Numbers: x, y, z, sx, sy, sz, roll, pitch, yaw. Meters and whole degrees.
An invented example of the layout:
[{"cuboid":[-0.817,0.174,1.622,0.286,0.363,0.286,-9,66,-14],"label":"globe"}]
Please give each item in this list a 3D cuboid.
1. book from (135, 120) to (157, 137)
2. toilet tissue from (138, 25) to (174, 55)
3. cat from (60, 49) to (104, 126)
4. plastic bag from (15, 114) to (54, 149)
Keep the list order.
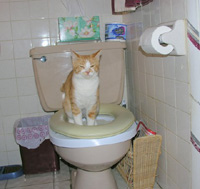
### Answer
[{"cuboid":[0.274,0.214,1.125,0.097,0.047,0.127,7,19,-25],"label":"book"},{"cuboid":[0.223,-0.220,0.759,0.083,0.102,0.116,-13,17,-17],"label":"toilet tissue"},{"cuboid":[-0.114,-0.059,1.178,0.217,0.511,0.427,-9,28,-21],"label":"cat"},{"cuboid":[-0.445,0.284,1.404,0.244,0.175,0.211,-11,17,-2],"label":"plastic bag"}]
